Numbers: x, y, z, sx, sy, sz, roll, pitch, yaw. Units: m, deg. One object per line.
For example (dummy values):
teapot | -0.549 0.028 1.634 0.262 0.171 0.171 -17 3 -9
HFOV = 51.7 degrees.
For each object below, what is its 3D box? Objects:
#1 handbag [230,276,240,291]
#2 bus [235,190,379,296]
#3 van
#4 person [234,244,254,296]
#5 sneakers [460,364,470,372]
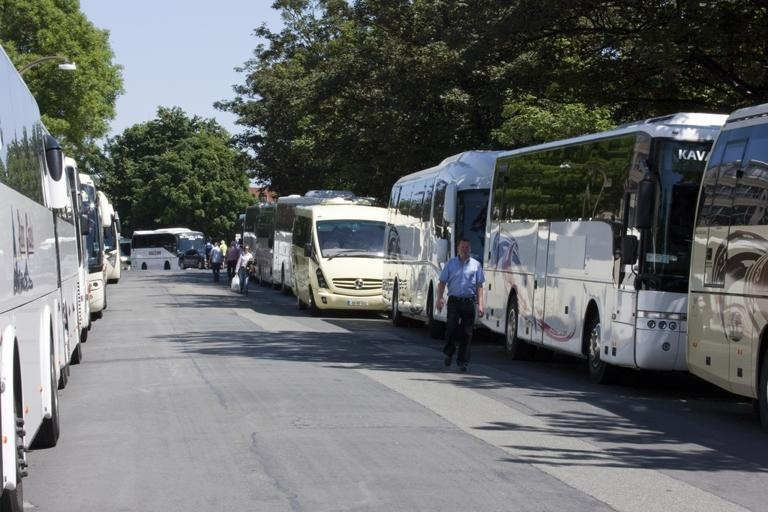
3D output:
handbag | -7.594 1.448 40.615 0.331 0.947 0.647 5 -7 -37
bus | -5.410 -0.935 46.590 4.012 4.767 14.360 1 -2 -16
van | -1.710 0.103 31.153 3.062 4.339 5.233 2 2 -10
person | -6.942 0.702 39.810 0.864 2.479 0.623 10 12 17
sneakers | 1.605 2.274 16.073 0.133 0.137 0.117 -10 -5 17
